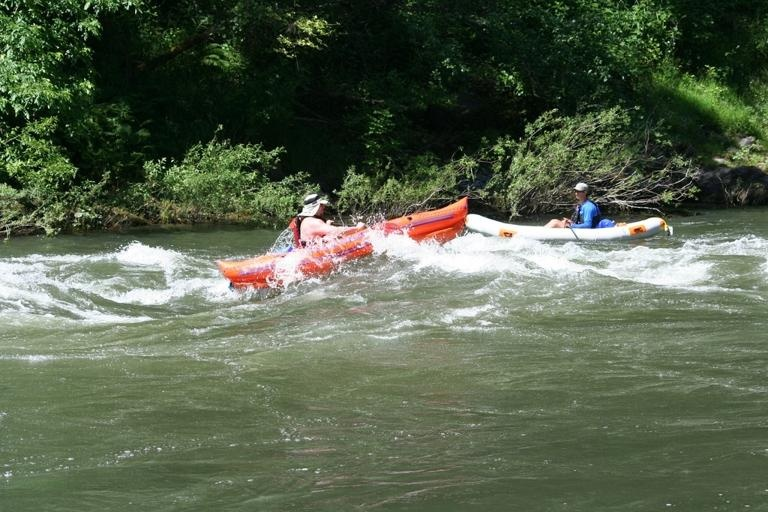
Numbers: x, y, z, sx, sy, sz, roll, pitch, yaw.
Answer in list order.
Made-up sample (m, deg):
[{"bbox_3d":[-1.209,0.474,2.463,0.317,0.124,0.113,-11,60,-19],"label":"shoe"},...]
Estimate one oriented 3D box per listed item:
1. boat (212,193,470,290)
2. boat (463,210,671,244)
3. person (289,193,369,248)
[{"bbox_3d":[-0.024,-0.020,18.433,5.976,0.671,1.445,-14,17,-15],"label":"boat"},{"bbox_3d":[3.851,-0.504,20.708,5.185,0.406,1.162,1,3,-5],"label":"boat"},{"bbox_3d":[-1.167,-0.743,20.506,1.536,1.533,0.714,-18,50,-6],"label":"person"}]
